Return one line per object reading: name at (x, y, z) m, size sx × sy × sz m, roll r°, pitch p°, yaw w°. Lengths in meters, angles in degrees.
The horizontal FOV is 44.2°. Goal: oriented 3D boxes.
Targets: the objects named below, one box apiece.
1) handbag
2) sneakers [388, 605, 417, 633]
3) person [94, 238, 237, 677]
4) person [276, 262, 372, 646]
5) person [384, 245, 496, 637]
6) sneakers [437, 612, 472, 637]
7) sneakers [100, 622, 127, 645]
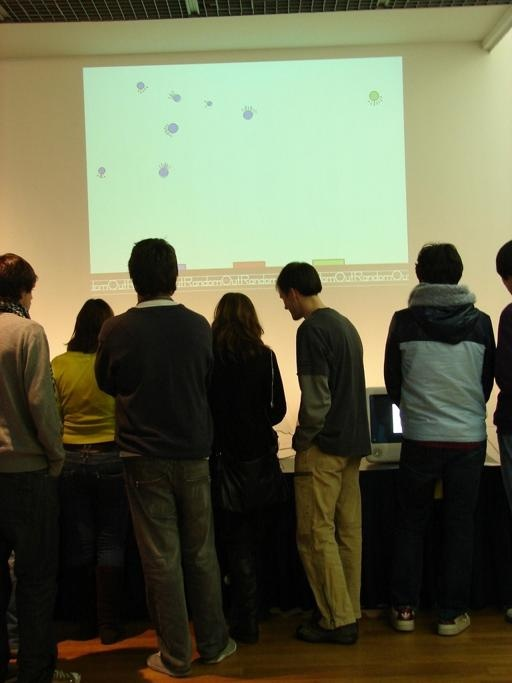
handbag at (-0.019, 0.490, 2.184) m, size 0.275 × 0.226 × 0.176 m, roll -2°, pitch -15°, yaw -14°
sneakers at (0.536, 1.014, 2.288) m, size 0.046 × 0.059 × 0.127 m, roll 1°, pitch 0°, yaw 6°
person at (-0.285, 0.373, 2.051) m, size 0.458 × 1.372 × 0.237 m, roll -1°, pitch 0°, yaw -17°
person at (0.253, 0.389, 2.299) m, size 0.330 × 1.350 × 0.288 m, roll -1°, pitch 0°, yaw -1°
person at (0.689, 0.421, 2.333) m, size 0.403 × 1.386 × 0.215 m, roll -1°, pitch 0°, yaw 13°
sneakers at (0.716, 0.998, 2.259) m, size 0.052 × 0.073 × 0.153 m, roll -8°, pitch -6°, yaw 40°
sneakers at (-0.522, 1.059, 2.273) m, size 0.043 × 0.058 × 0.126 m, roll 0°, pitch -5°, yaw 5°
